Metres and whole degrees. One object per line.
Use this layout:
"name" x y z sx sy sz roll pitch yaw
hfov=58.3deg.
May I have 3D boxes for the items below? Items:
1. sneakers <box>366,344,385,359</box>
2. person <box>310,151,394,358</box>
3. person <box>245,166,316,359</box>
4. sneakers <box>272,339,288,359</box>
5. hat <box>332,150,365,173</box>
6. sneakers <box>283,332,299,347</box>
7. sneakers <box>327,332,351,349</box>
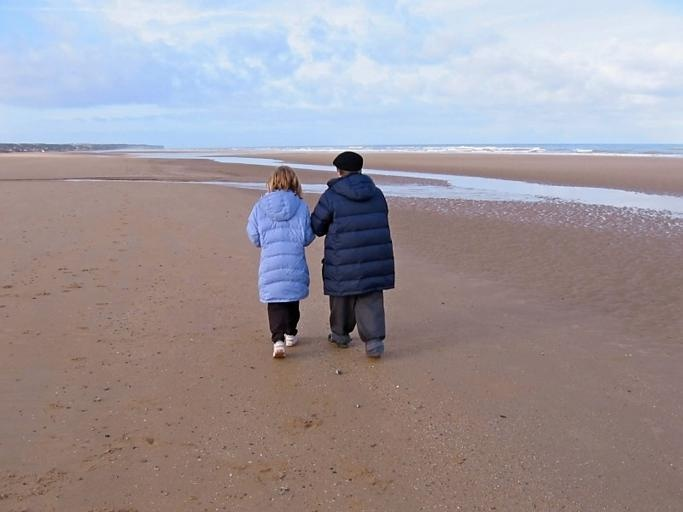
"sneakers" 0.372 1.011 6.496 0.138 0.139 0.189 1 -8 -8
"person" 0.129 -0.001 6.553 0.860 2.146 0.649 1 16 2
"person" -0.604 0.065 6.562 0.670 1.949 0.677 -7 18 -23
"sneakers" -0.654 0.994 6.526 0.170 0.186 0.171 -4 17 -14
"hat" 0.068 -1.004 6.566 0.298 0.224 0.390 0 16 0
"sneakers" -0.555 0.937 6.830 0.069 0.083 0.201 1 10 4
"sneakers" -0.015 0.942 6.833 0.121 0.112 0.245 -3 13 -19
